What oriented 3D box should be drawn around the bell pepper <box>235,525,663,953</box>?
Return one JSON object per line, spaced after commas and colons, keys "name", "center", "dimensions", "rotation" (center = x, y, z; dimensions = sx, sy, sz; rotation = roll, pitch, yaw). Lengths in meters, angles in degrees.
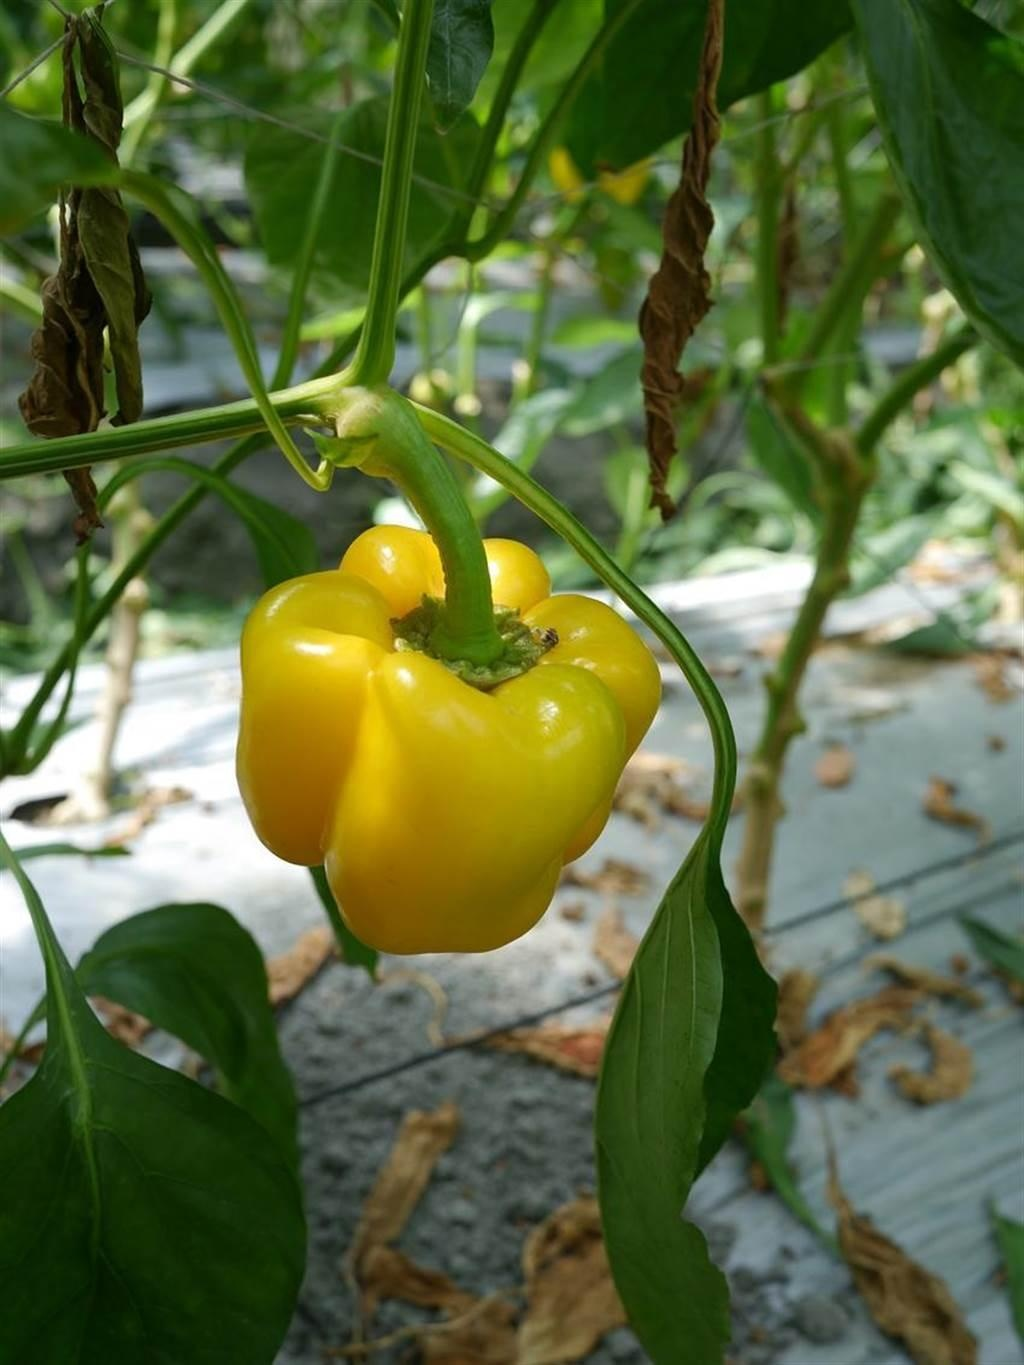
{"name": "bell pepper", "center": [-0.022, 0.009, 0.526], "dimensions": [0.155, 0.149, 0.188], "rotation": [10, 29, 6]}
